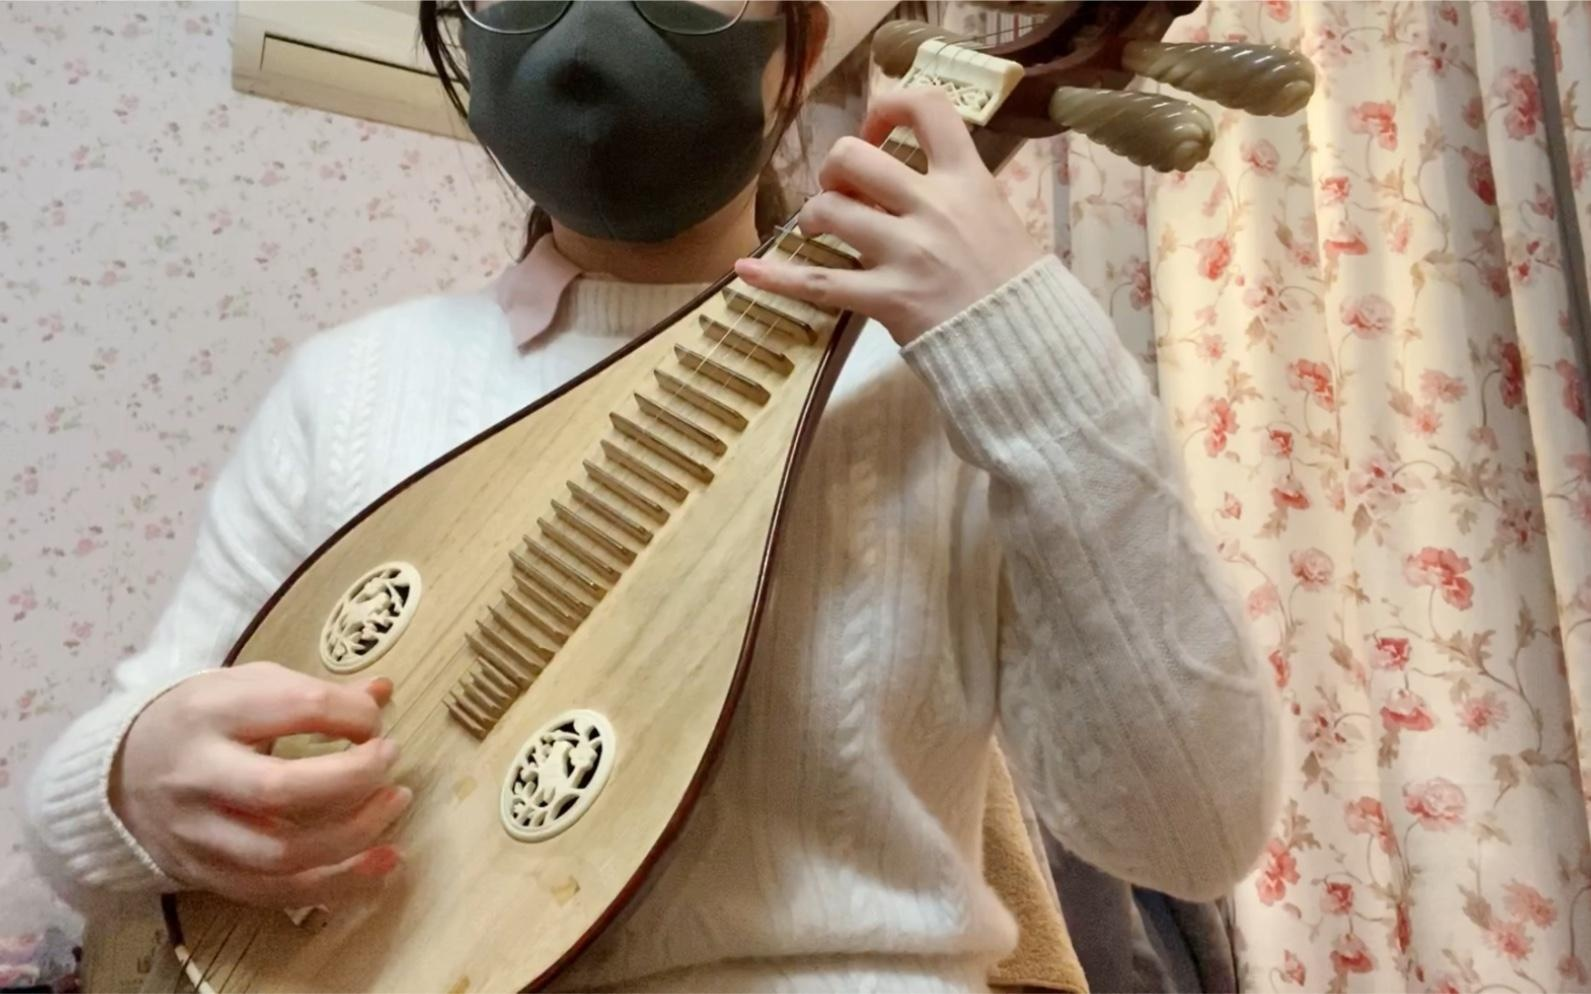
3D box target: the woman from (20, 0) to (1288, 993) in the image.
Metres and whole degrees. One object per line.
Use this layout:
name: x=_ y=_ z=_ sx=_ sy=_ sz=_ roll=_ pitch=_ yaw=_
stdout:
woman: x=-0.004 y=0.106 z=2.242 sx=1.303 sy=0.501 sz=1.740 roll=5 pitch=85 yaw=15

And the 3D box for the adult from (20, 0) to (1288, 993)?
adult: x=0.028 y=0.118 z=2.228 sx=1.303 sy=0.501 sz=1.740 roll=5 pitch=85 yaw=15
